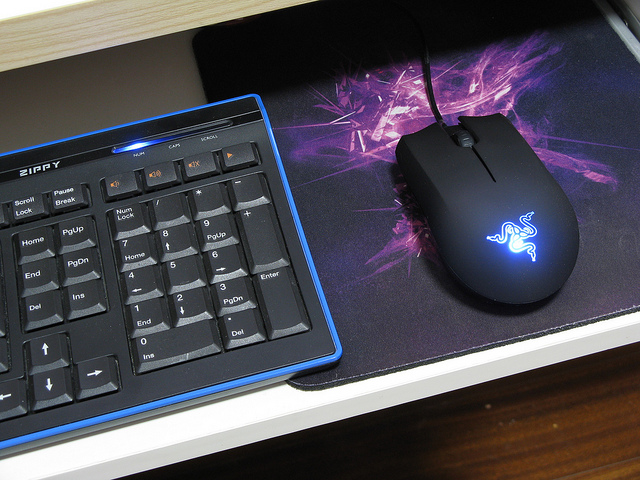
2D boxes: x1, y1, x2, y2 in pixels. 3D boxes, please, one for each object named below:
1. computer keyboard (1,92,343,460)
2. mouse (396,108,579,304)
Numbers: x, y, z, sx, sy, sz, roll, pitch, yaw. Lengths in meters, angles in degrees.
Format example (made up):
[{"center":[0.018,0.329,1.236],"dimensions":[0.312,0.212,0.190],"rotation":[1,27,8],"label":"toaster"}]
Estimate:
[{"center":[-0.123,0.033,0.463],"dimensions":[0.388,0.085,0.255],"rotation":[-16,54,-8],"label":"computer keyboard"},{"center":[0.147,-0.025,0.526],"dimensions":[0.123,0.044,0.181],"rotation":[-20,62,-13],"label":"mouse"}]
